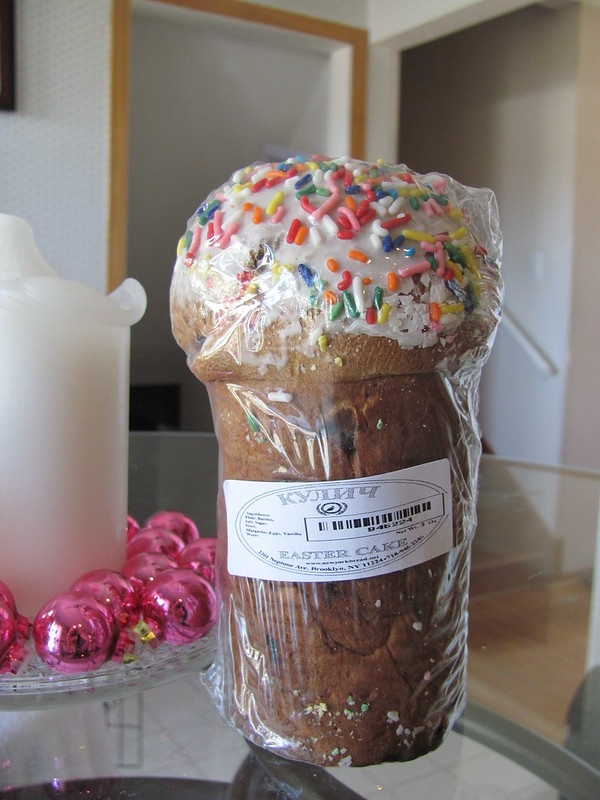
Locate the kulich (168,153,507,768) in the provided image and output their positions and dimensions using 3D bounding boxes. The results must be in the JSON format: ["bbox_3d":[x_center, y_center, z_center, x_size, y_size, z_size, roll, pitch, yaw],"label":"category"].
[{"bbox_3d":[0.038,0.058,0.683,0.296,0.419,0.255,-5,4,-16],"label":"kulich"}]
